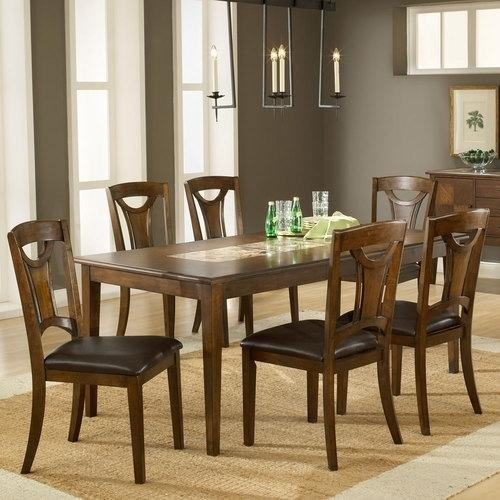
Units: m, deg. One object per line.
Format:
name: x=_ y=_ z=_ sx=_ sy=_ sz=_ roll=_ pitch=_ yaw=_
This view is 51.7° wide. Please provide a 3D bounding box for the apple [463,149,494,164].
apple: x=2.262 y=-0.928 z=5.132 sx=0.196 sy=0.072 sz=0.197 roll=0 pitch=4 yaw=25
